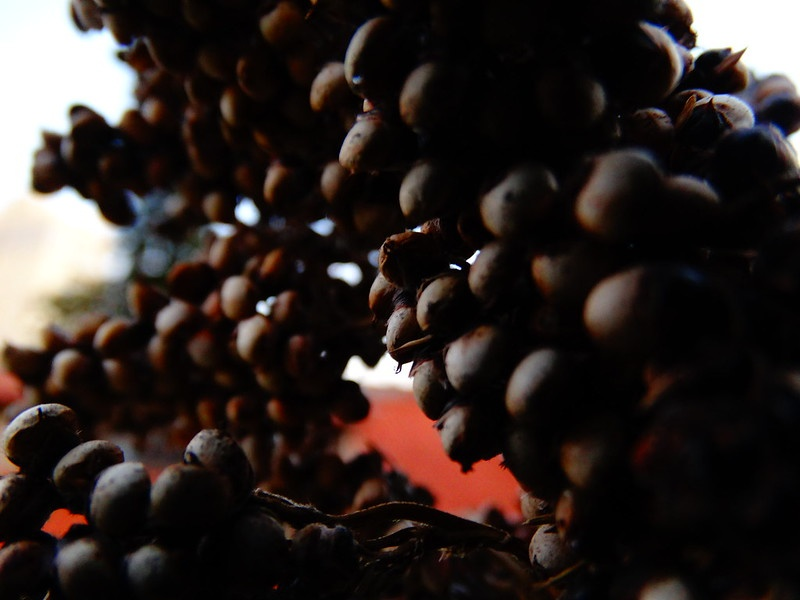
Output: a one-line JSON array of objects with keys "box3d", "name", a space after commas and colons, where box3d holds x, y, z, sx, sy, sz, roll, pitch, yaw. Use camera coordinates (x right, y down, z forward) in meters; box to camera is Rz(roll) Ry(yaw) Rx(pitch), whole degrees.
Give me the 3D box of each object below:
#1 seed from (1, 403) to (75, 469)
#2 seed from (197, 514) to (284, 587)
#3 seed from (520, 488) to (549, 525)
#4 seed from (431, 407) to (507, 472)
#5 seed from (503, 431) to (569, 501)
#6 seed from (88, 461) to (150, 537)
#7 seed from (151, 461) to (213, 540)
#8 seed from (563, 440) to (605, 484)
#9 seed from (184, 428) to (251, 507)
[{"box3d": [-0.273, 0.102, 0.768, 0.051, 0.043, 0.038, -13, -61, 2], "name": "seed"}, {"box3d": [-0.112, 0.183, 0.740, 0.058, 0.032, 0.039, 5, -63, -7], "name": "seed"}, {"box3d": [0.105, 0.164, 0.807, 0.021, 0.030, 0.025, -8, -11, 17], "name": "seed"}, {"box3d": [0.051, 0.100, 0.738, 0.049, 0.029, 0.050, -16, -63, 3], "name": "seed"}, {"box3d": [0.094, 0.117, 0.715, 0.041, 0.035, 0.044, 16, -65, -12], "name": "seed"}, {"box3d": [-0.205, 0.138, 0.753, 0.034, 0.040, 0.054, 1, -54, -45], "name": "seed"}, {"box3d": [-0.157, 0.144, 0.728, 0.046, 0.029, 0.035, 3, -63, -7], "name": "seed"}, {"box3d": [0.124, 0.112, 0.693, 0.020, 0.031, 0.009, -8, -13, 30], "name": "seed"}, {"box3d": [-0.135, 0.116, 0.754, 0.026, 0.052, 0.042, -34, -20, 22], "name": "seed"}]
